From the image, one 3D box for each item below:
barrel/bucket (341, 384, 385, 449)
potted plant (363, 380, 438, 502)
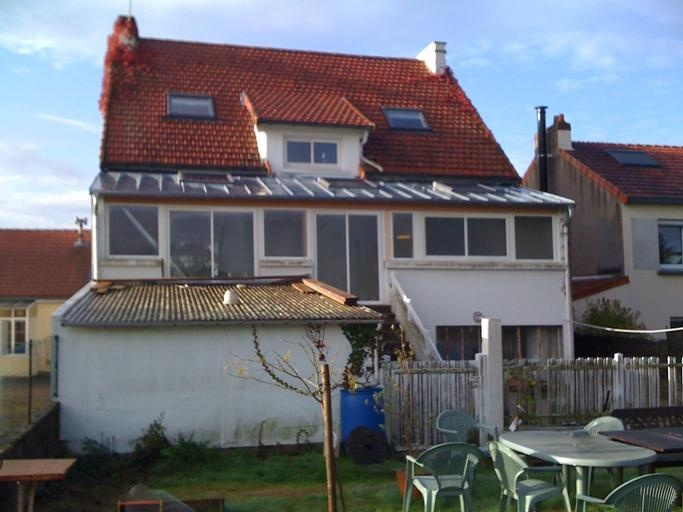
[{"bbox_3d":[0.446,3.799,26.275,1.093,1.424,1.184,0,-10,0],"label":"barrel/bucket"},{"bbox_3d":[0.988,3.987,25.006,1.610,3.205,1.744,-1,-1,3],"label":"potted plant"}]
